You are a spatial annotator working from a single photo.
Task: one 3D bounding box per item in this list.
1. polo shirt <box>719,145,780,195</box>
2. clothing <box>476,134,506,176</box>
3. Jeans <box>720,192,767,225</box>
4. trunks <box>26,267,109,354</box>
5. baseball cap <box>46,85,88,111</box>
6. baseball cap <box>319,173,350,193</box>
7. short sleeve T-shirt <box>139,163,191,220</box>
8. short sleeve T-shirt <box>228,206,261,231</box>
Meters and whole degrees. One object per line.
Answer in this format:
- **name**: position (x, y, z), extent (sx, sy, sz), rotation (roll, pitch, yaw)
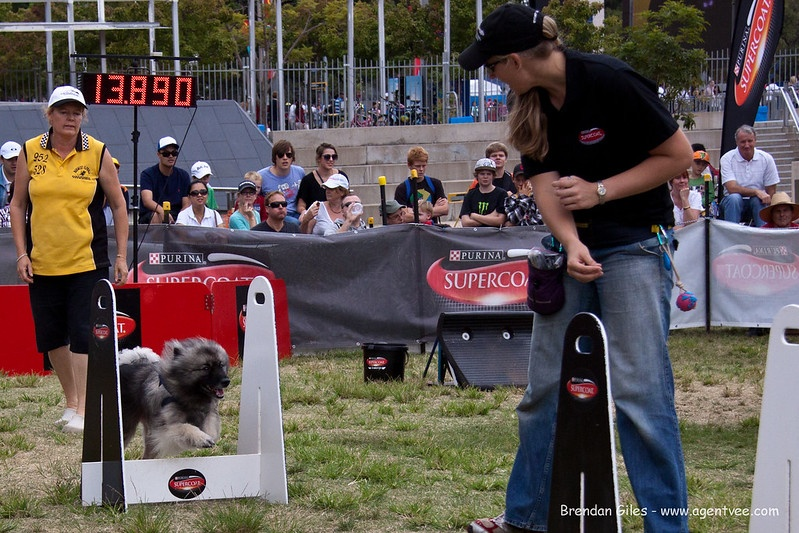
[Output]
- **polo shirt**: position (5.527, -1.521, 23.168), extent (0.995, 0.872, 0.603), rotation (2, -3, 19)
- **clothing**: position (1.480, -1.744, 23.438), extent (0.434, 0.715, 0.465), rotation (-1, -1, -1)
- **Jeans**: position (5.391, -1.017, 23.017), extent (0.688, 0.578, 0.491), rotation (9, 20, 23)
- **trunks**: position (-3.858, 0.481, 17.090), extent (0.865, 1.290, 0.545), rotation (0, -12, -1)
- **baseball cap**: position (-3.995, -2.038, 17.457), extent (0.419, 0.267, 0.426), rotation (-2, 5, -5)
- **baseball cap**: position (-0.916, -1.256, 21.698), extent (0.325, 0.195, 0.234), rotation (3, -1, -44)
- **short sleeve T-shirt**: position (-3.552, -1.008, 22.091), extent (0.842, 1.083, 0.660), rotation (4, -4, -28)
- **short sleeve T-shirt**: position (-2.365, -0.790, 22.226), extent (0.525, 0.532, 0.295), rotation (-1, -10, -43)
